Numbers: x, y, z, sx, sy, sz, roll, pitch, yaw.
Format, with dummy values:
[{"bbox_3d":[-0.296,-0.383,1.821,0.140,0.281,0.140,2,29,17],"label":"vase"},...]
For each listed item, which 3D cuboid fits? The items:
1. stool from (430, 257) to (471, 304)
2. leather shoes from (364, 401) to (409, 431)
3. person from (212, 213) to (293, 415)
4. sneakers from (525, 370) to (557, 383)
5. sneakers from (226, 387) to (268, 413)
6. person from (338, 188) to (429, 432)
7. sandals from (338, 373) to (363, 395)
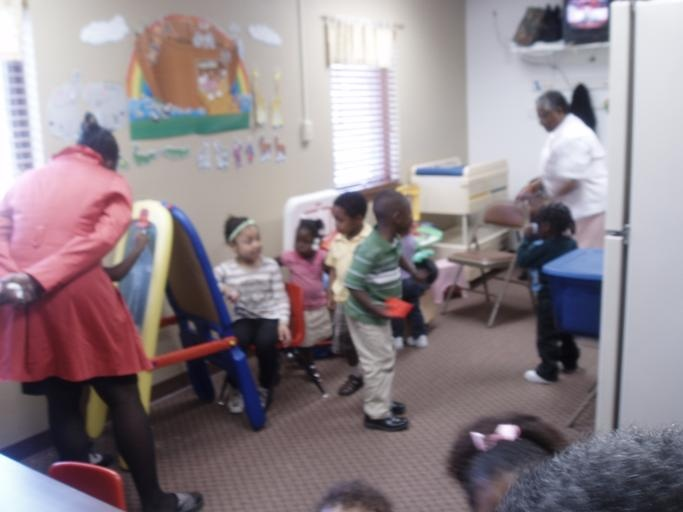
[{"bbox_3d":[0.990,0.248,4.921,0.339,0.346,0.373,-5,6,-14],"label":"stool"},{"bbox_3d":[0.250,0.864,2.818,0.168,0.057,0.125,-4,12,-5],"label":"leather shoes"},{"bbox_3d":[-0.511,0.331,3.066,0.408,1.089,0.420,-6,14,-14],"label":"person"},{"bbox_3d":[1.232,0.730,3.237,0.155,0.065,0.073,7,11,25],"label":"sneakers"},{"bbox_3d":[-0.546,0.833,3.047,0.279,0.127,0.115,-3,14,-2],"label":"sneakers"},{"bbox_3d":[0.196,0.300,2.768,0.335,1.254,0.407,2,14,16],"label":"person"},{"bbox_3d":[0.062,0.805,3.254,0.071,0.084,0.182,-1,-1,32],"label":"sandals"}]
